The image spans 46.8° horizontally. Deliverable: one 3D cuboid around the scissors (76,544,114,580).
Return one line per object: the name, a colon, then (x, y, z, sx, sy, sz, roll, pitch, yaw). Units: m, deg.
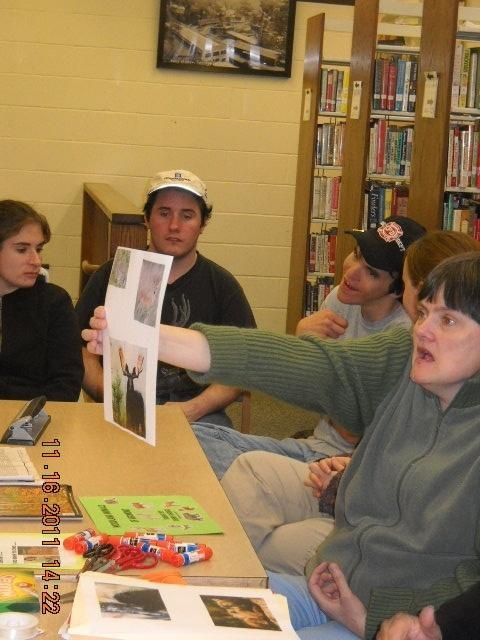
scissors: (-0.182, 0.311, 0.719, 0.040, 0.017, 0.065, 8, 0, -12)

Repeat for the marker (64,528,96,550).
marker: (-0.218, 0.297, 0.758, 0.023, 0.022, 0.039, -17, -4, 22)

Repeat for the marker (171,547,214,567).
marker: (-0.063, 0.320, 0.752, 0.059, 0.028, 0.021, 8, 1, -31)

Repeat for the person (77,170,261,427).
person: (-0.301, -0.027, 2.160, 0.815, 1.063, 0.730, 4, 8, 3)

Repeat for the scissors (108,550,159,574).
scissors: (-0.142, 0.319, 0.736, 0.042, 0.010, 0.026, 2, 5, -15)

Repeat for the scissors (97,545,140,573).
scissors: (-0.160, 0.313, 0.729, 0.039, 0.011, 0.027, 2, 4, -4)

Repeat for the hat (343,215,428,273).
hat: (0.554, -0.301, 2.135, 0.272, 0.143, 0.194, 23, 19, -31)
